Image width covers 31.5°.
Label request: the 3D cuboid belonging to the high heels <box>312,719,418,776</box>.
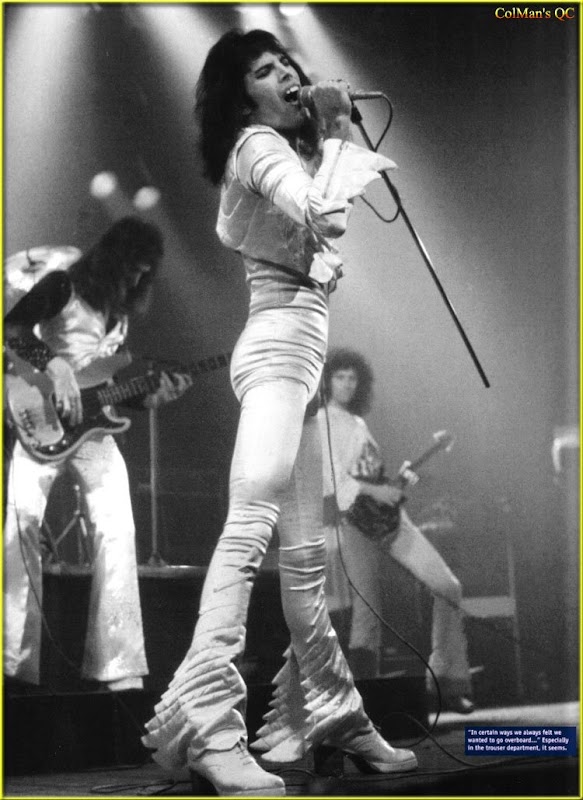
[{"bbox_3d":[0.223,1.028,3.063,0.355,0.159,0.122,2,-9,-14],"label":"high heels"}]

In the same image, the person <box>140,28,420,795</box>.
[{"bbox_3d":[-0.031,-0.056,2.901,0.650,2.240,0.621,3,-8,-8],"label":"person"}]
